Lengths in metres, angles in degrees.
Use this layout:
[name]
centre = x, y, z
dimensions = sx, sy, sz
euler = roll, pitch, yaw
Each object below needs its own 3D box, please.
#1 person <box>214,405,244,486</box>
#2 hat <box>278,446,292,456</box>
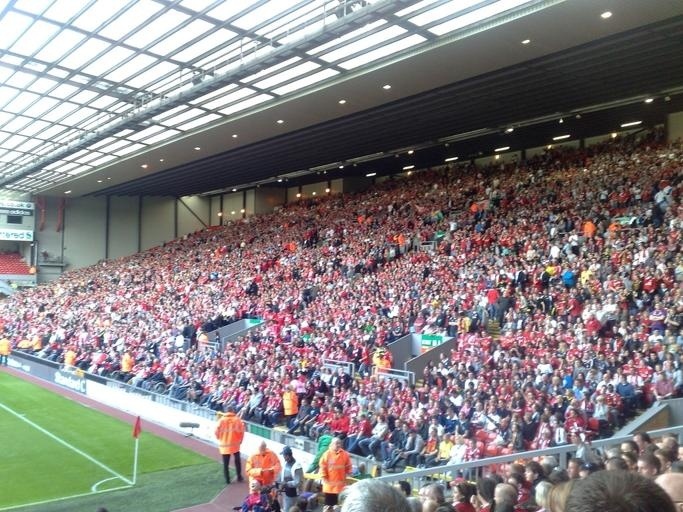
[person]
centre = -3.598, 6.139, 25.776
dimensions = 0.886, 2.530, 0.791
euler = -7, -3, -8
[hat]
centre = -1.621, 5.815, 23.537
dimensions = 0.234, 0.186, 0.441
euler = -5, -2, -12
